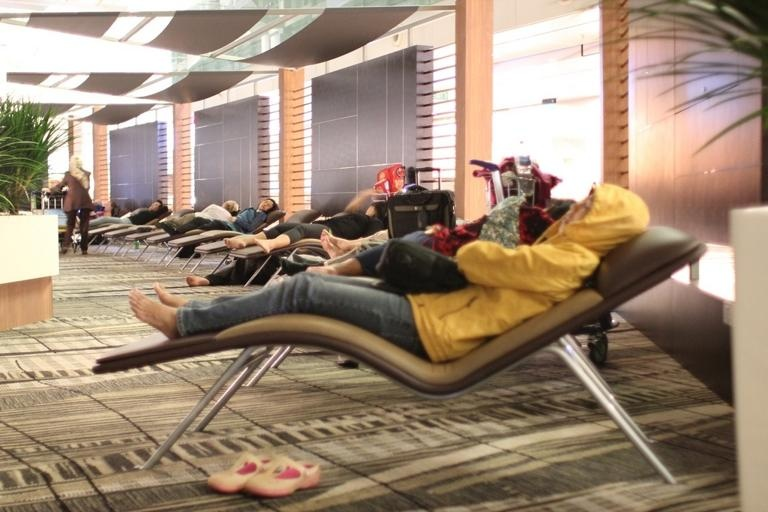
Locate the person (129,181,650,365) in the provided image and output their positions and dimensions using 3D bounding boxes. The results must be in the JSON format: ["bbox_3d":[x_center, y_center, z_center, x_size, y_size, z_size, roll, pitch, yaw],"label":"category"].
[{"bbox_3d":[0.052,0.061,2.440,2.194,0.426,0.919,-1,2,0],"label":"person"}]

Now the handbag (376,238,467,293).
[{"bbox_3d":[0.102,0.046,2.389,0.431,0.109,0.252,9,1,-20],"label":"handbag"}]

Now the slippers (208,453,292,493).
[{"bbox_3d":[-0.540,0.862,2.166,0.331,0.081,0.126,-3,-3,-35],"label":"slippers"}]

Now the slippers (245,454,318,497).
[{"bbox_3d":[-0.394,0.880,2.112,0.263,0.063,0.120,4,-6,-35],"label":"slippers"}]

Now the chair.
[{"bbox_3d":[0.106,0.401,2.508,2.925,0.692,1.035,0,-1,1],"label":"chair"}]
